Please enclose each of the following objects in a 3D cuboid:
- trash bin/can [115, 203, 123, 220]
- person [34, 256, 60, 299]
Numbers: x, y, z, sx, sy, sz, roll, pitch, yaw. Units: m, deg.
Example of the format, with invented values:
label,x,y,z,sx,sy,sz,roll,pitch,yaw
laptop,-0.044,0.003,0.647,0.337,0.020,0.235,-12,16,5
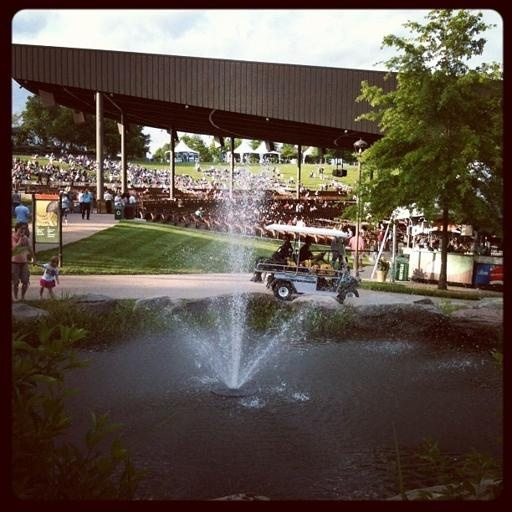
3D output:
label,x,y,z,sx,sy,sz,roll,pitch,yaw
trash bin/can,-7.704,-2.567,31.357,0.422,0.869,0.472,0,9,-12
person,-5.448,0.592,14.548,0.798,1.516,0.393,1,4,-35
